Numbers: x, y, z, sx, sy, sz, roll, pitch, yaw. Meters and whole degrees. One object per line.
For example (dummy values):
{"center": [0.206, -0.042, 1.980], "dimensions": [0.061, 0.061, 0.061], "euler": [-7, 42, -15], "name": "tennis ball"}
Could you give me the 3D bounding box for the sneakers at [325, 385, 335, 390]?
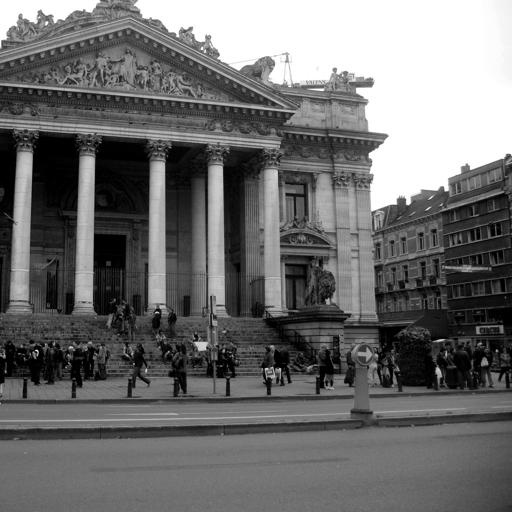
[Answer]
{"center": [2.615, 4.726, 25.302], "dimensions": [0.128, 0.181, 0.382], "euler": [0, -6, -40], "name": "sneakers"}
